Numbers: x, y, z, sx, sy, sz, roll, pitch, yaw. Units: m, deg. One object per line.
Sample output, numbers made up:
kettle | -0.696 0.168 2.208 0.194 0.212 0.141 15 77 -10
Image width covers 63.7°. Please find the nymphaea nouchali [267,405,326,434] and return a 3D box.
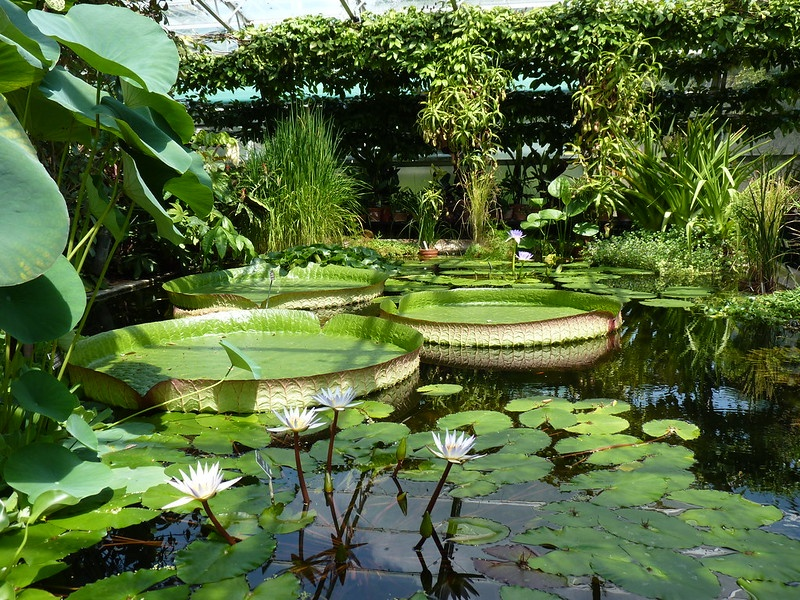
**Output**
nymphaea nouchali | -0.341 0.398 2.116 0.232 0.082 0.206 0 -1 -12
